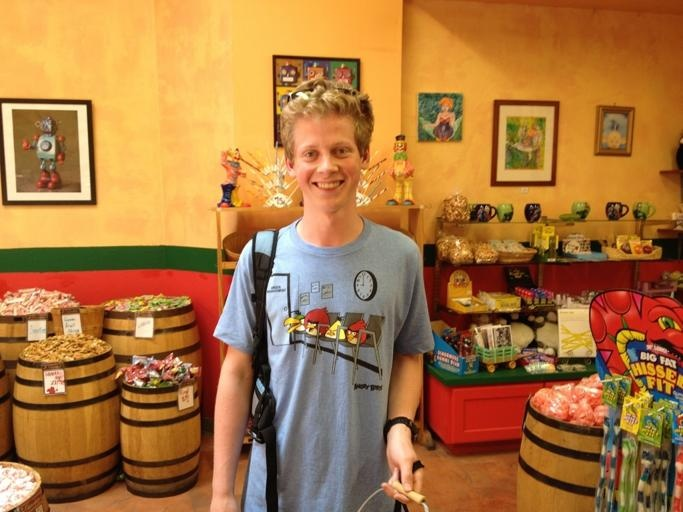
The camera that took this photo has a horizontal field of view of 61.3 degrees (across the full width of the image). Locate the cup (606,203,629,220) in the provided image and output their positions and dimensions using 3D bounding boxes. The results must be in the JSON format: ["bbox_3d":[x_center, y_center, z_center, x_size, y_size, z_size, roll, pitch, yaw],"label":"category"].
[{"bbox_3d":[2.275,-0.375,4.850,0.229,0.181,0.165,4,7,39],"label":"cup"}]

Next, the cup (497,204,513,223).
[{"bbox_3d":[1.346,-0.350,4.715,0.137,0.155,0.136,-2,0,0],"label":"cup"}]

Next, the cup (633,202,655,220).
[{"bbox_3d":[2.532,-0.379,4.871,0.191,0.172,0.139,5,3,-12],"label":"cup"}]

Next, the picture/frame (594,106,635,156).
[{"bbox_3d":[2.389,-1.122,5.084,0.435,0.573,0.059,0,11,-7],"label":"picture/frame"}]

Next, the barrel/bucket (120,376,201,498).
[{"bbox_3d":[-1.074,1.206,4.099,0.659,0.754,0.707,0,4,0],"label":"barrel/bucket"}]

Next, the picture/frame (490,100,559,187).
[{"bbox_3d":[1.550,-0.999,4.956,0.734,0.865,0.058,0,7,-5],"label":"picture/frame"}]

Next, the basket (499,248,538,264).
[{"bbox_3d":[1.425,0.003,4.657,0.305,0.119,0.136,-1,9,3],"label":"basket"}]

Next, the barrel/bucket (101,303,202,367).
[{"bbox_3d":[-1.431,0.527,4.373,0.490,0.468,0.488,0,2,0],"label":"barrel/bucket"}]

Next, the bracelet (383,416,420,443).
[{"bbox_3d":[0.242,0.708,2.346,0.109,0.042,0.110,22,41,28],"label":"bracelet"}]

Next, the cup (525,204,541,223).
[{"bbox_3d":[1.574,-0.356,4.800,0.145,0.164,0.148,-1,7,0],"label":"cup"}]

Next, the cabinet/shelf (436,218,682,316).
[{"bbox_3d":[1.922,0.035,4.926,2.409,0.784,0.454,-3,9,-8],"label":"cabinet/shelf"}]

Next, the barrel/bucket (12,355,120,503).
[{"bbox_3d":[-1.805,1.144,3.826,0.617,0.964,0.246,-6,10,-26],"label":"barrel/bucket"}]

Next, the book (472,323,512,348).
[{"bbox_3d":[1.172,0.618,4.459,0.287,0.166,0.155,-4,9,-18],"label":"book"}]

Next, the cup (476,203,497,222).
[{"bbox_3d":[1.215,-0.356,4.788,0.114,0.160,0.297,5,11,36],"label":"cup"}]
